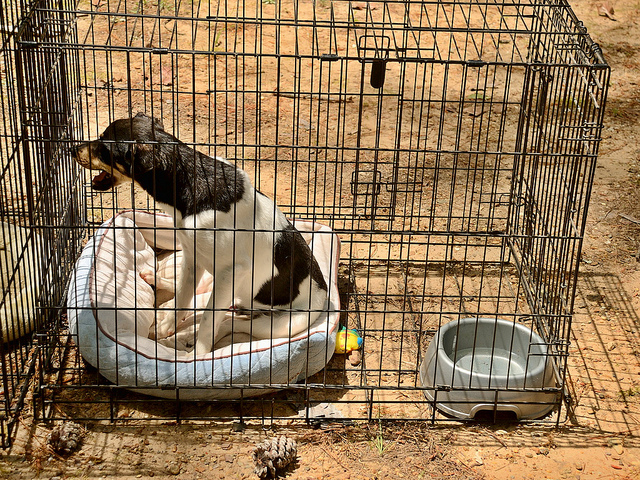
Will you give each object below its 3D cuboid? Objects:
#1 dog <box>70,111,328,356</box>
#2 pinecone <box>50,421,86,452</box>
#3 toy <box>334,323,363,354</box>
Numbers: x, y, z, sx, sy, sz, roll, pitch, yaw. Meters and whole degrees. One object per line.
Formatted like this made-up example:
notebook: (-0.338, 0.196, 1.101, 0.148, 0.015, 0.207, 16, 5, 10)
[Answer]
dog: (-1.206, -0.309, 8.902, 2.668, 1.963, 1.483, -3, 33, -13)
pinecone: (-1.993, 1.515, 8.106, 0.248, 0.091, 0.296, 10, 47, 1)
toy: (0.244, 0.864, 9.080, 0.227, 0.207, 0.338, 2, 7, 4)
